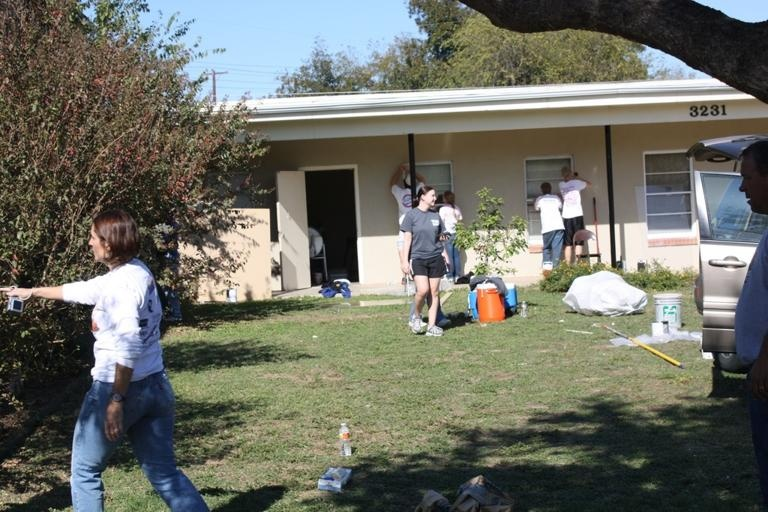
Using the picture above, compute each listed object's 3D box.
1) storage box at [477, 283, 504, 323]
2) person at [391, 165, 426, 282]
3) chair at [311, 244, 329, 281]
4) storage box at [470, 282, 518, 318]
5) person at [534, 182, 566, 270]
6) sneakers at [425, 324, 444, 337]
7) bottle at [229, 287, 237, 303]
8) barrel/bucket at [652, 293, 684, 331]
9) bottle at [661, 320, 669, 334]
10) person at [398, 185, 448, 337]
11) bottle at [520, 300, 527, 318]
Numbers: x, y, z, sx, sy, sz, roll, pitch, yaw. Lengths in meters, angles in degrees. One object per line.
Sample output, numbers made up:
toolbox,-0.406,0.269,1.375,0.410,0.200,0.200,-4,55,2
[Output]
storage box,1.670,0.728,12.043,0.429,0.456,0.281,-5,-23,33
person,0.525,-0.647,17.282,0.801,2.581,0.750,-4,12,-6
chair,-1.546,0.093,18.561,0.409,0.828,1.670,-3,10,-6
storage box,1.693,0.702,12.323,0.647,0.469,0.497,5,8,36
person,3.401,-0.561,15.782,0.555,1.781,1.492,0,9,12
sneakers,0.738,1.065,11.139,0.246,0.171,0.132,1,4,2
bottle,-2.987,0.740,15.181,0.178,0.304,0.302,-4,9,-10
barrel/bucket,3.966,0.755,10.579,0.426,0.475,0.437,-1,-1,0
bottle,3.753,0.935,10.279,0.088,0.122,0.196,0,10,17
person,0.596,0.091,10.957,0.638,2.100,0.392,-2,9,3
bottle,2.208,0.796,12.110,0.109,0.271,0.511,-1,10,10
